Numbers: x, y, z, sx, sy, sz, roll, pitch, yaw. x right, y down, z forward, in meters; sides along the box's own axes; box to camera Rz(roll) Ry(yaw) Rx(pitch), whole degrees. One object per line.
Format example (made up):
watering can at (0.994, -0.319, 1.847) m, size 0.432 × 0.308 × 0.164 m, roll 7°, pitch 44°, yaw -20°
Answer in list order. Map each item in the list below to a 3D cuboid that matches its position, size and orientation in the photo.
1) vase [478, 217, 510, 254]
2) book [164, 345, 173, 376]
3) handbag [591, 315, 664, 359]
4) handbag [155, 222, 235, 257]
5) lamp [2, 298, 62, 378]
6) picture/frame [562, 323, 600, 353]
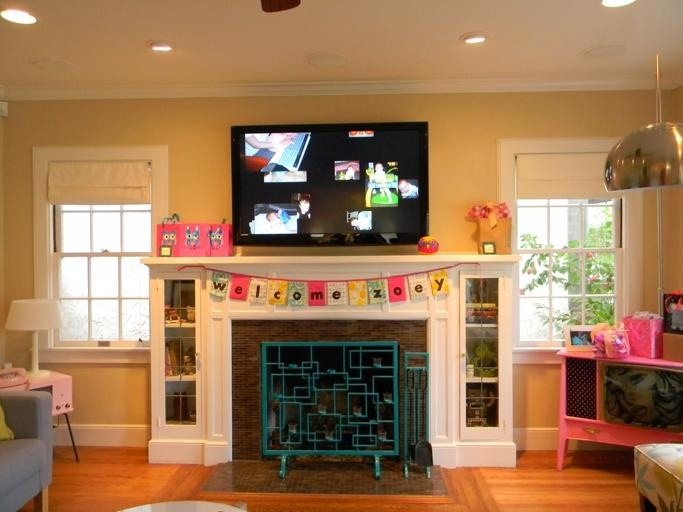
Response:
vase at (1.275, -0.165, 5.557) m, size 0.259 × 0.293 × 0.138 m, roll -1°, pitch -2°, yaw 1°
book at (-1.440, 0.887, 5.586) m, size 0.045 × 0.189 × 0.187 m, roll 1°, pitch -40°, yaw -10°
handbag at (2.286, 0.644, 5.278) m, size 0.597 × 0.386 × 0.327 m, roll 0°, pitch 0°, yaw 20°
handbag at (-1.221, -0.136, 5.566) m, size 0.615 × 0.284 × 0.188 m, roll 0°, pitch -2°, yaw -12°
lamp at (-2.528, 0.673, 5.595) m, size 0.398 × 0.614 × 0.440 m, roll 0°, pitch -2°, yaw -8°
picture/frame at (1.949, 0.678, 5.448) m, size 0.268 × 0.218 × 0.027 m, roll 1°, pitch -17°, yaw 4°
